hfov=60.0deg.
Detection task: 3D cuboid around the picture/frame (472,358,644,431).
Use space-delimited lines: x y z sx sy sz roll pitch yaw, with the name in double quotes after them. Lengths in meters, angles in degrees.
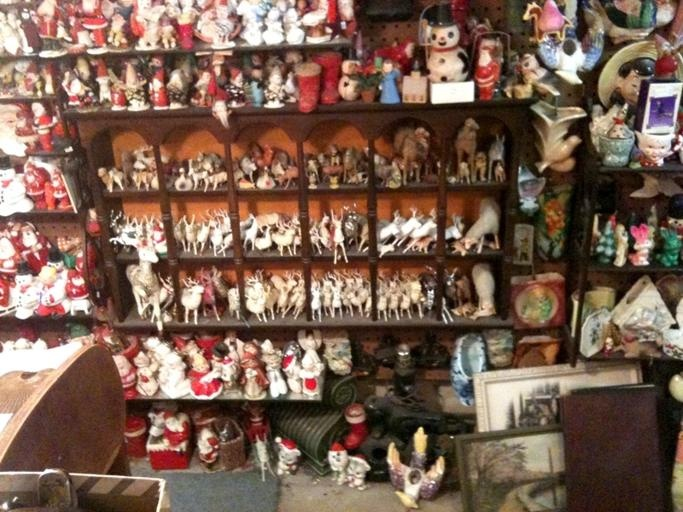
1.491 0.947 3.984 1.170 0.412 0.084 -4 -7 4 "picture/frame"
